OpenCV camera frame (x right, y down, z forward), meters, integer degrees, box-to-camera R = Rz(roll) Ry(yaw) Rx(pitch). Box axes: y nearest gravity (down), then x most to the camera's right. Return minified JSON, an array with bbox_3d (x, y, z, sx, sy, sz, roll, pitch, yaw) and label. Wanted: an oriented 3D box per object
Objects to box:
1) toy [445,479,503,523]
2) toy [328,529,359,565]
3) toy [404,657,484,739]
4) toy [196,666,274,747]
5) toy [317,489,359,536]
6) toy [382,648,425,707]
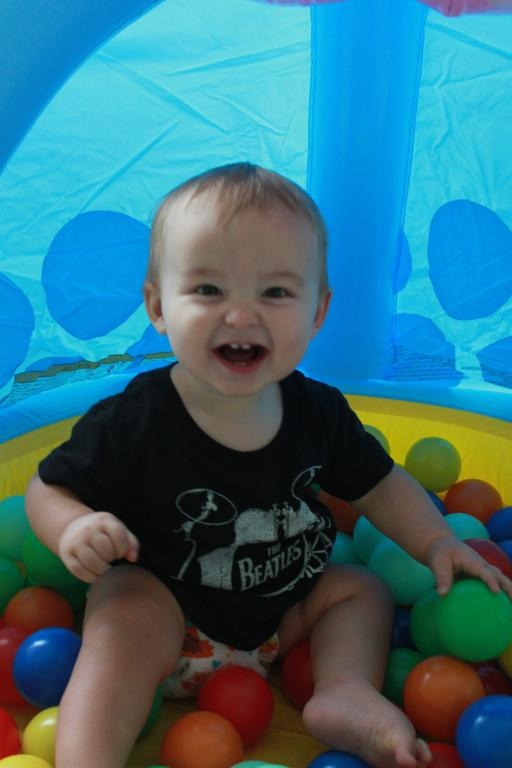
[{"bbox_3d":[0.454,0.252,1.471,0.117,0.086,0.091,7,-14,-6],"label":"toy"},{"bbox_3d":[0.172,0.312,1.336,0.041,0.060,0.071,-13,22,28],"label":"toy"},{"bbox_3d":[0.244,0.411,0.895,0.084,0.090,0.081,-29,-3,-4],"label":"toy"},{"bbox_3d":[-0.024,0.426,0.923,0.108,0.119,0.096,4,66,-4],"label":"toy"},{"bbox_3d":[0.179,0.266,1.435,0.116,0.088,0.081,9,-6,-16],"label":"toy"},{"bbox_3d":[0.212,0.424,1.018,0.071,0.074,0.068,0,9,14],"label":"toy"}]
